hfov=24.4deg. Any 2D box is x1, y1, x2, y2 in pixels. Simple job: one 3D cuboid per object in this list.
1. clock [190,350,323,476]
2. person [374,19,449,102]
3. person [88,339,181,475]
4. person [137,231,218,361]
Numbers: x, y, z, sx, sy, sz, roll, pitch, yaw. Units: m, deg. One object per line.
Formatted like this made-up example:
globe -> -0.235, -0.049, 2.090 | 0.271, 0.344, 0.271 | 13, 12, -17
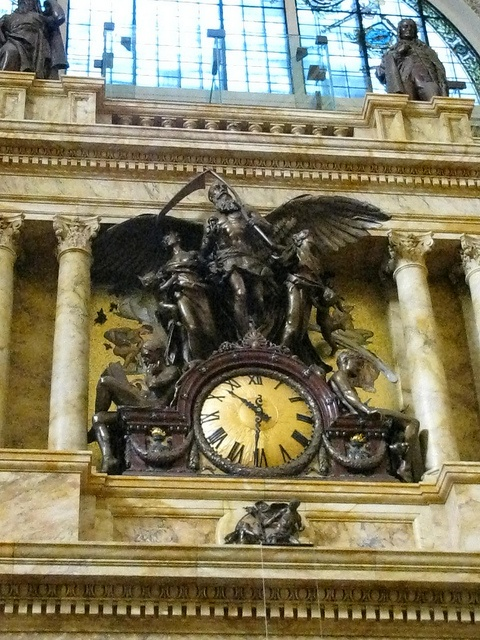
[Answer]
clock -> 0.117, 0.859, 9.038 | 0.917, 0.902, 0.948 | 4, -34, -7
person -> 1.989, -2.909, 13.249 | 0.806, 1.822, 0.532 | -1, -35, 2
person -> -0.915, 0.712, 9.294 | 0.765, 1.311, 0.434 | 8, -23, 0
person -> -0.518, -0.123, 10.027 | 0.618, 1.249, 0.326 | -3, -27, 0
